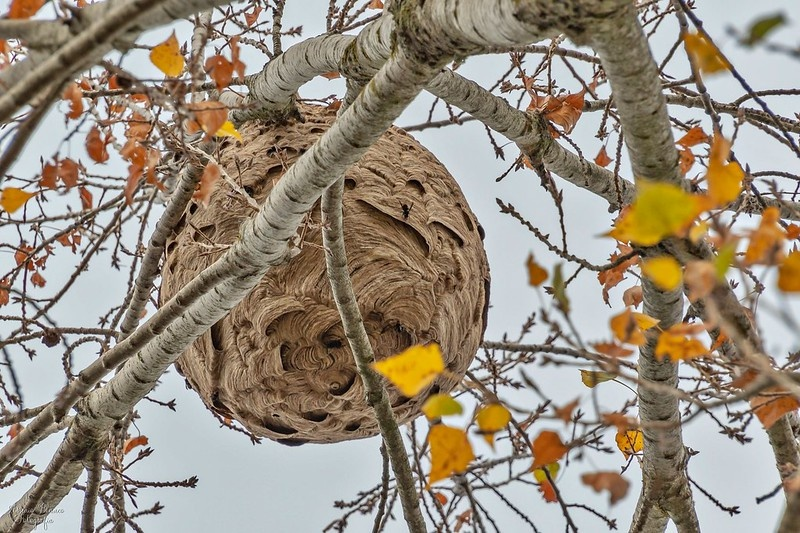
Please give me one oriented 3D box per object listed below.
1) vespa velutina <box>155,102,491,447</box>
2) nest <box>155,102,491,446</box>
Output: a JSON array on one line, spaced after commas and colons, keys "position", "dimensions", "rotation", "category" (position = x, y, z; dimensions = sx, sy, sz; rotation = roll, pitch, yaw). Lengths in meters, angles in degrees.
[{"position": [-0.402, 0.047, 7.604], "dimensions": [1.641, 1.718, 1.789], "rotation": [2, -92, 7], "category": "vespa velutina"}, {"position": [-0.234, 0.048, 7.605], "dimensions": [1.627, 1.725, 1.772], "rotation": [2, -92, 8], "category": "nest"}]
